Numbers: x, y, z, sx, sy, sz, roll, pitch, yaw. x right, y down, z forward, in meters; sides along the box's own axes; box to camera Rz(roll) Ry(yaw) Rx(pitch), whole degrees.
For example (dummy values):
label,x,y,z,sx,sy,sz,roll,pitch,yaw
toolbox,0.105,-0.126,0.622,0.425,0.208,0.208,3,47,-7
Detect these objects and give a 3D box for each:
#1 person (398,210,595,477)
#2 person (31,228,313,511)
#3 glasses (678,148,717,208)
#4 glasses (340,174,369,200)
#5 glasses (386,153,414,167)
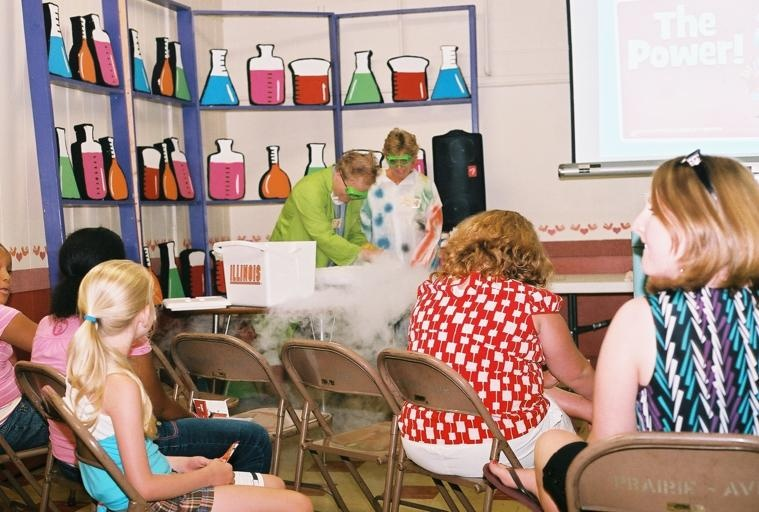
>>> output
label,x,y,z,sx,sy,sz,roll,pitch,yaw
person,0.571,0.329,3.353,1.096,1.022,0.732,2,6,-45
person,-1.003,0.402,3.534,0.867,1.350,1.091,0,2,30
glasses,1.009,-0.250,2.497,0.087,0.159,0.063,-35,-11,-23
glasses,-0.150,-0.416,4.736,0.119,0.130,0.044,1,-5,-38
glasses,0.127,-0.611,4.960,0.170,0.068,0.096,-2,3,-1
